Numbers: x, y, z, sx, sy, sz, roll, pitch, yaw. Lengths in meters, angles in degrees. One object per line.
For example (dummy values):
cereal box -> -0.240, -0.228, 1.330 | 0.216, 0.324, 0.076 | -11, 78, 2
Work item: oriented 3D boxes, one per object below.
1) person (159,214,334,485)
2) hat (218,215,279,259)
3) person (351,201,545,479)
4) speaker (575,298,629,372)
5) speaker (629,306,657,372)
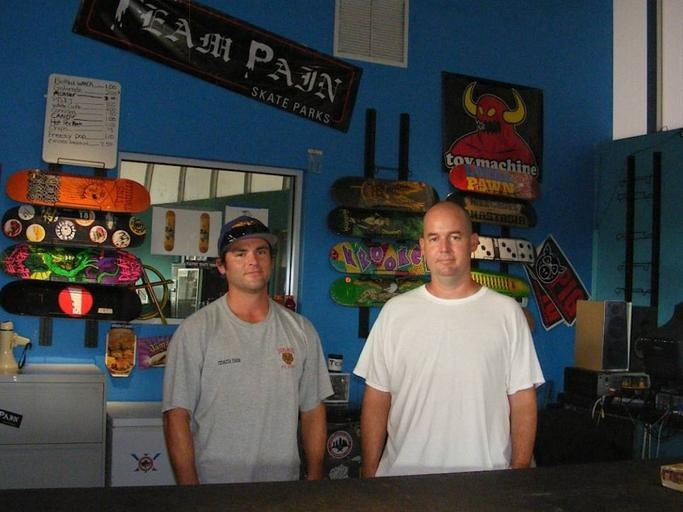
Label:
person -> -0.422, 0.490, 2.980 | 0.630, 1.248, 0.789 | 11, 13, 36
hat -> -0.493, -0.123, 3.202 | 0.286, 0.176, 0.368 | -14, -4, -9
person -> 0.501, 0.436, 2.974 | 0.898, 1.338, 0.424 | 6, 11, 16
speaker -> 2.037, 0.626, 4.882 | 0.422, 0.569, 0.238 | 7, 11, 21
speaker -> 2.444, 0.625, 5.031 | 0.258, 0.410, 0.255 | 2, -4, 15
